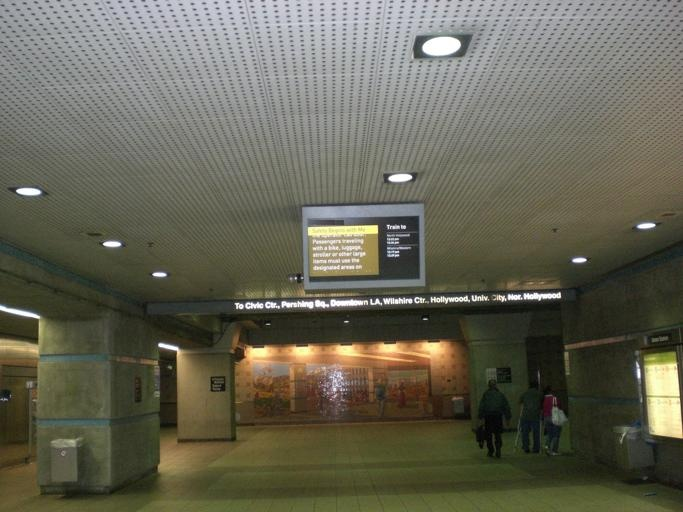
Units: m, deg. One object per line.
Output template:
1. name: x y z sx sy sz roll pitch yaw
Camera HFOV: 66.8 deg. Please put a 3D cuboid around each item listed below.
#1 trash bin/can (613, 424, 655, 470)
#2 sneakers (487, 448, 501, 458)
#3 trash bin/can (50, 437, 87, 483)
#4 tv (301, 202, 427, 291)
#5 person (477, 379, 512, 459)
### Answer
1. trash bin/can: 5.383 3.533 9.481 0.613 0.839 0.457 -4 -18 7
2. sneakers: 3.834 4.974 13.021 0.300 0.183 0.390 -13 -32 11
3. trash bin/can: -5.327 3.961 10.001 0.559 0.784 0.290 2 -18 -14
4. tv: 0.272 -0.160 6.501 1.550 0.755 0.134 -1 4 2
5. person: 3.862 4.098 13.107 0.763 1.868 0.811 -6 -18 11
